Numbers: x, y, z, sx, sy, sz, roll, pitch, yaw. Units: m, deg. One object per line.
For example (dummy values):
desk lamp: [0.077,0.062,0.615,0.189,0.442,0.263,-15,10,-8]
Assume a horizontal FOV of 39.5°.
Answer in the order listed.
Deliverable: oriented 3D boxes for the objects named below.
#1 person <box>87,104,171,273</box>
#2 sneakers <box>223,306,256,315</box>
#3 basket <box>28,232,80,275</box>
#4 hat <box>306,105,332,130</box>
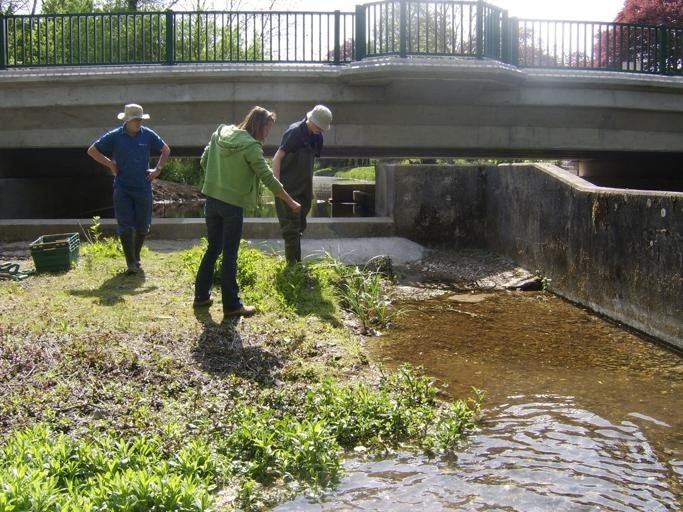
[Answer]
person: [-2.983,-0.984,13.623,1.090,2.370,0.670,-4,11,-24]
sneakers: [-1.253,0.651,11.880,0.385,0.159,0.136,-5,9,-17]
basket: [-4.139,-0.073,13.926,0.625,0.460,0.833,-2,11,-12]
hat: [-0.299,-1.927,13.140,0.322,0.328,0.420,-1,11,-7]
